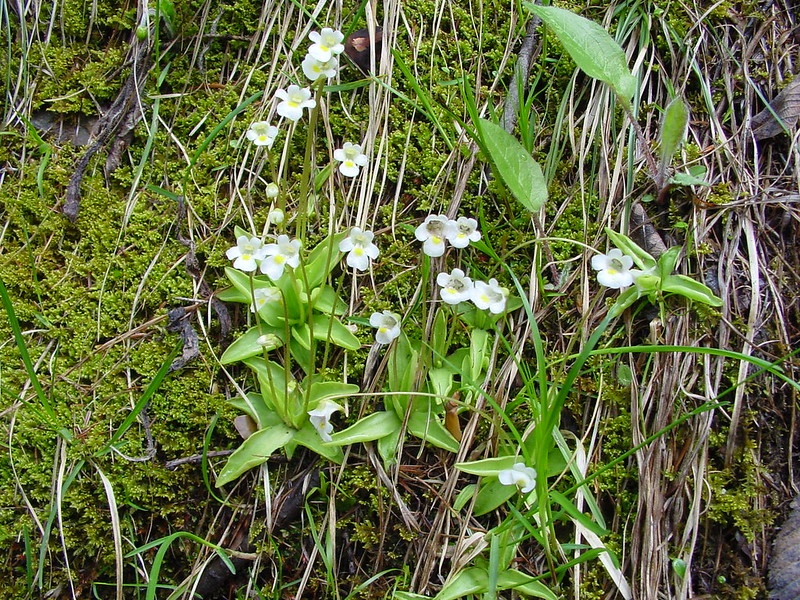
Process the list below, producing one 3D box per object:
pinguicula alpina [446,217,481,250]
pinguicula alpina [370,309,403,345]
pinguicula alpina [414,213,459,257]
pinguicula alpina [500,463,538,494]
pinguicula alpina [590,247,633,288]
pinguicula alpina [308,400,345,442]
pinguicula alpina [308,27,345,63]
[{"bbox_3d":[0.254,-0.272,2.969,0.119,0.138,0.049,-2,-9,-10],"label":"pinguicula alpina"},{"bbox_3d":[-0.067,0.110,2.964,0.116,0.140,0.059,9,11,-5],"label":"pinguicula alpina"},{"bbox_3d":[0.138,-0.260,2.925,0.157,0.152,0.119,8,36,2],"label":"pinguicula alpina"},{"bbox_3d":[0.462,0.700,2.828,0.124,0.136,0.053,-9,-5,-6],"label":"pinguicula alpina"},{"bbox_3d":[0.872,-0.115,2.983,0.140,0.170,0.064,0,-7,-4],"label":"pinguicula alpina"},{"bbox_3d":[-0.313,0.509,2.997,0.092,0.269,0.125,16,36,15],"label":"pinguicula alpina"},{"bbox_3d":[-0.299,-0.990,2.910,0.141,0.170,0.061,8,0,-8],"label":"pinguicula alpina"}]
